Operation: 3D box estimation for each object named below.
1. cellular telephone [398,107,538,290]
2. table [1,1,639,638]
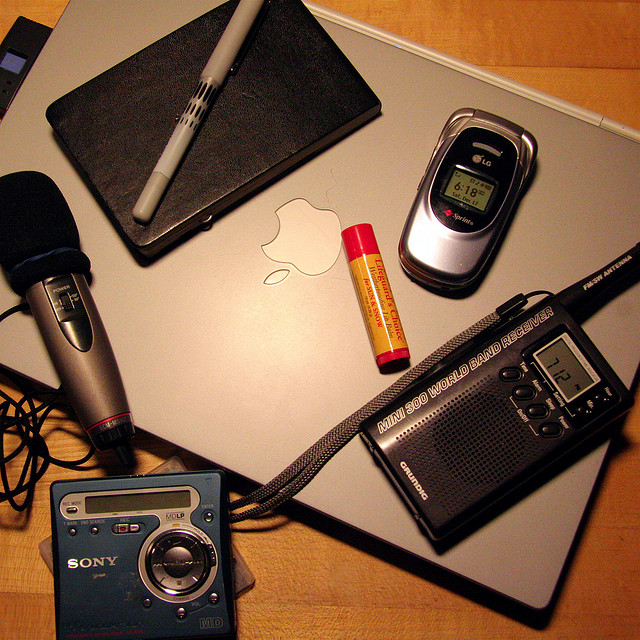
[{"bbox_3d":[0.183,-0.145,0.792,0.130,0.053,0.230,16,72,18],"label":"cellular telephone"},{"bbox_3d":[-0.013,0.010,0.772,0.644,0.240,1.025,-3,75,4],"label":"table"}]
